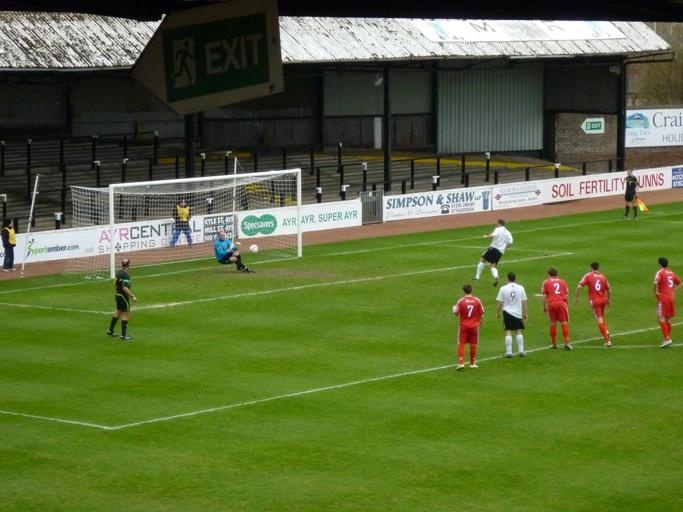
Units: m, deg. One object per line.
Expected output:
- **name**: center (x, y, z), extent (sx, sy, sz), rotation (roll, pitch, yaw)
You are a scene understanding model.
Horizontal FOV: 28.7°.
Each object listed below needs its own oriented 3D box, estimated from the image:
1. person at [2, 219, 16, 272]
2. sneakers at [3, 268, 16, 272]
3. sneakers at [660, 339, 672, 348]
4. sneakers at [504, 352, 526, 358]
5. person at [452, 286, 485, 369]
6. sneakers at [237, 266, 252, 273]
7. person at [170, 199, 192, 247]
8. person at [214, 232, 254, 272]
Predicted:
- **person**: center (-10.594, -0.337, 42.538), extent (0.430, 1.734, 1.017), rotation (-3, 13, -14)
- **sneakers**: center (-10.650, 0.459, 42.871), extent (0.387, 0.148, 0.142), rotation (0, 7, 8)
- **sneakers**: center (7.865, 2.144, 32.412), extent (0.355, 0.148, 0.120), rotation (-27, 0, 2)
- **sneakers**: center (4.110, 2.374, 31.766), extent (0.472, 0.194, 0.167), rotation (-2, 3, 16)
- **person**: center (2.903, 1.707, 30.861), extent (0.623, 1.851, 0.822), rotation (1, 12, 4)
- **sneakers**: center (-3.098, 0.445, 42.240), extent (0.176, 0.231, 0.562), rotation (-4, -1, -42)
- **person**: center (-5.547, -1.038, 45.927), extent (0.740, 1.509, 0.483), rotation (-2, 12, -7)
- **person**: center (-3.539, -0.151, 42.602), extent (0.948, 1.351, 1.766), rotation (-3, 12, -11)
